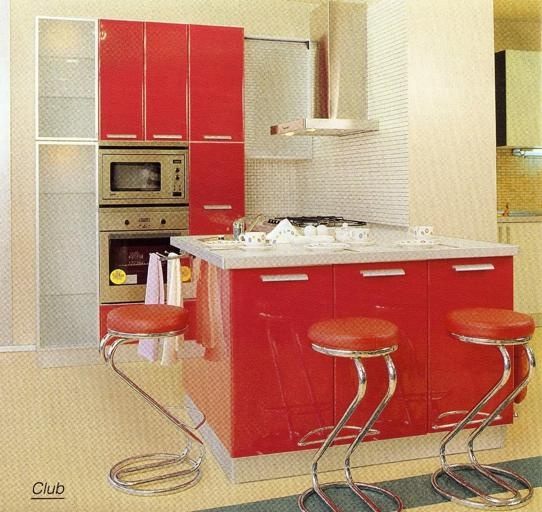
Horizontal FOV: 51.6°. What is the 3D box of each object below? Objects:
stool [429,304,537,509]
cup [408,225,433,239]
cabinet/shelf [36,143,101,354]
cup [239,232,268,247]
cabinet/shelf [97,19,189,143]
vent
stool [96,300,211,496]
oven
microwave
[{"bbox_3d":[0.921,0.615,2.461,0.438,0.776,0.584,-1,7,13],"label":"stool"},{"bbox_3d":[0.828,-0.132,2.995,0.160,0.064,0.116,-1,4,-13],"label":"cup"},{"bbox_3d":[-1.747,-0.098,4.840,0.569,1.690,0.235,-5,7,-11],"label":"cabinet/shelf"},{"bbox_3d":[-0.088,-0.081,2.799,0.139,0.055,0.085,-1,1,0],"label":"cup"},{"bbox_3d":[-1.007,-1.382,4.452,0.743,0.916,0.154,-4,7,-8],"label":"cabinet/shelf"},{"bbox_3d":[0.409,-1.427,4.357,0.669,0.992,0.680,-4,7,-6],"label":"vent"},{"bbox_3d":[-0.544,0.620,2.540,0.442,0.797,0.438,-5,7,-13],"label":"stool"},{"bbox_3d":[-0.840,0.023,4.718,0.849,0.773,0.693,-2,-7,32],"label":"oven"},{"bbox_3d":[-1.084,-0.601,4.719,1.062,0.451,0.497,-1,3,-16],"label":"microwave"}]
